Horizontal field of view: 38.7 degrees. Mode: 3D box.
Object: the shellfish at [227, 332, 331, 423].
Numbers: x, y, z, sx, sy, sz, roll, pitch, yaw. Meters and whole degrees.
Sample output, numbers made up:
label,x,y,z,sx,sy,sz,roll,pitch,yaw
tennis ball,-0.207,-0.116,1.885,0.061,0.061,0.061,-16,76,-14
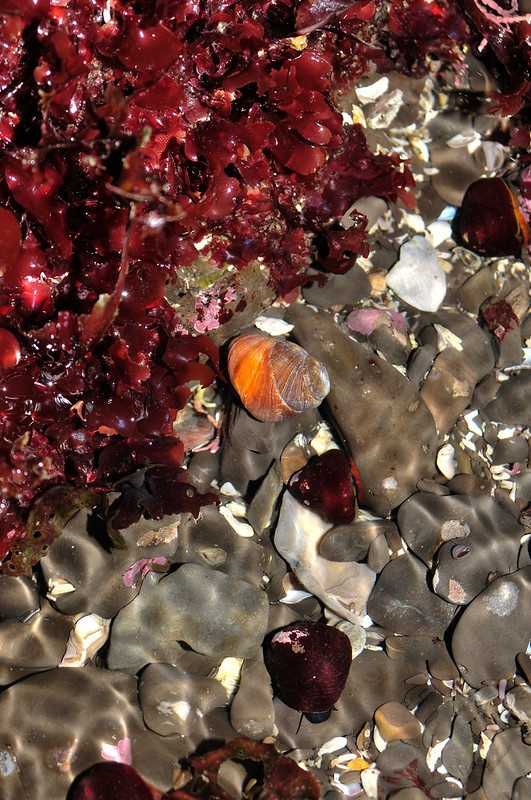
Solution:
label,x,y,z,sx,sy,sz,roll,pitch,yaw
shellfish,0.030,-0.058,2.006,0.218,0.119,0.250,-34,79,-10
